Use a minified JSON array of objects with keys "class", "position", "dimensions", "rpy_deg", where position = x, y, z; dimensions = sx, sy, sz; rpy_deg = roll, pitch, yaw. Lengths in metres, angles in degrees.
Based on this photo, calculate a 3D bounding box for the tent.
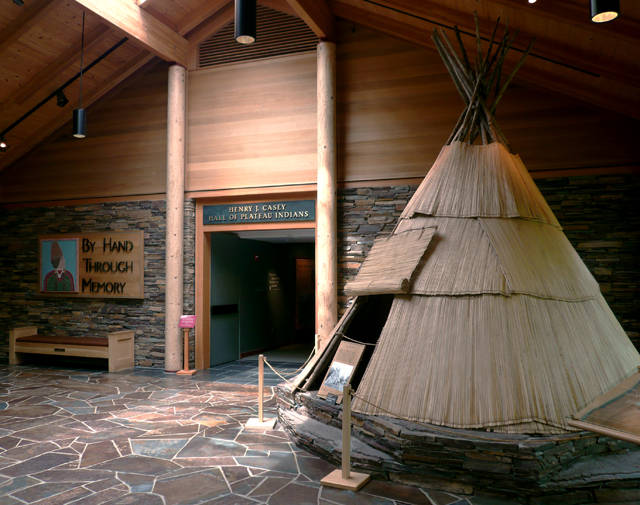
[{"class":"tent","position":[1.683,-0.146,6.865],"dimensions":[5.438,3.915,4.440],"rpy_deg":[1,-5,3]}]

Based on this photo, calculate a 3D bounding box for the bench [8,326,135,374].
[{"class":"bench","position":[-4.773,1.820,9.609],"dimensions":[2.661,0.783,0.664],"rpy_deg":[-1,0,23]}]
